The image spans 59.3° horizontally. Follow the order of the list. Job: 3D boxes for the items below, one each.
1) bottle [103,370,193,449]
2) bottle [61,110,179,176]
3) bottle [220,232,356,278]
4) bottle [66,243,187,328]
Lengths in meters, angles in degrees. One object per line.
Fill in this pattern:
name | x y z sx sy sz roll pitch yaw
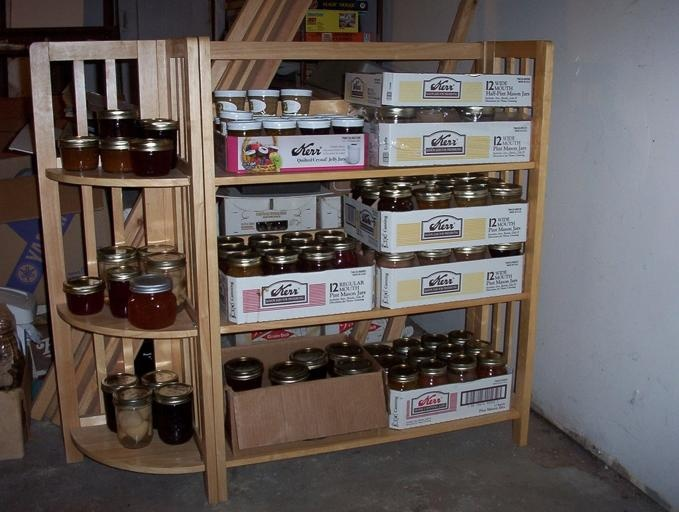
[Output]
bottle | -0.672 0.595 2.361 0.371 0.171 0.290 -6 12 -40
bottle | -0.726 -0.374 2.112 0.371 0.132 0.359 1 10 0
bottle | -0.198 -0.013 2.290 0.516 0.112 0.348 -2 12 -10
bottle | -0.702 0.101 2.144 0.398 0.205 0.301 2 13 3
